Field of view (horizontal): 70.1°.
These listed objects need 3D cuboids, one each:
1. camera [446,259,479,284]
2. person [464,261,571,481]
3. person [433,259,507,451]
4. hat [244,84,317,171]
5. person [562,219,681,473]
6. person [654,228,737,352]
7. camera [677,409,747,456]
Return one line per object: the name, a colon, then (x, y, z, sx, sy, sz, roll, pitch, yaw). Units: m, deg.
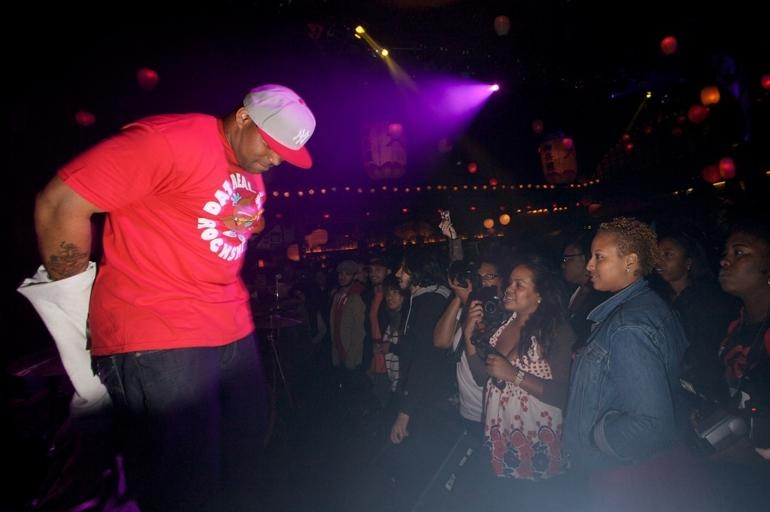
camera: (1.076, 0.216, 7.514, 0.336, 0.124, 0.332, 15, 40, 16)
person: (1.786, 1.395, 6.851, 1.057, 2.651, 0.546, 1, 2, 17)
person: (1.128, 1.174, 7.585, 0.684, 1.966, 1.452, 1, -2, 20)
hat: (-1.108, -1.460, 6.167, 0.486, 0.944, 0.731, -39, 3, 22)
person: (2.807, 1.053, 6.517, 1.281, 3.019, 0.511, 1, 2, 22)
person: (4.146, 0.487, 7.317, 0.536, 0.524, 1.599, 6, 36, 22)
camera: (3.926, 2.143, 6.577, 0.316, 0.283, 0.514, -37, -3, -32)
